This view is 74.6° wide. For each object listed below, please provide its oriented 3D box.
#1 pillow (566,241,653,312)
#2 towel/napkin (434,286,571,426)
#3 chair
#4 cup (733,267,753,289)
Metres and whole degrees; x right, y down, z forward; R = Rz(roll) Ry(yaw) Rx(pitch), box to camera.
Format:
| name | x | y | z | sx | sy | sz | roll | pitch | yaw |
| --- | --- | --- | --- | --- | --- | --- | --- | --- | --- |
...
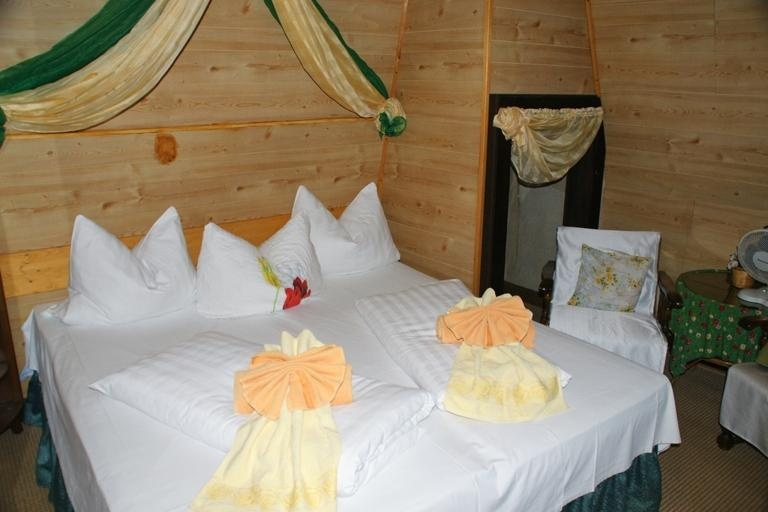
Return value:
| name | x | y | z | sx | sy | sz | roll | pitch | yaw |
| --- | --- | --- | --- | --- | --- | --- | --- | --- | --- |
| pillow | 1.641 | 0.150 | 3.624 | 0.526 | 0.453 | 0.155 | 11 | 2 | 12 |
| towel/napkin | 0.611 | 0.523 | 2.571 | 0.526 | 0.158 | 0.736 | -5 | 31 | -4 |
| chair | 1.544 | 0.302 | 3.824 | 0.949 | 1.212 | 1.071 | 8 | 22 | 21 |
| cup | 2.604 | 0.169 | 3.636 | 0.131 | 0.105 | 0.140 | 0 | 21 | 0 |
